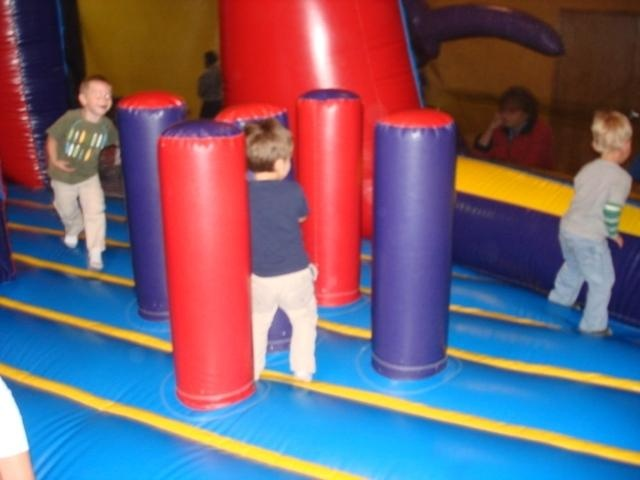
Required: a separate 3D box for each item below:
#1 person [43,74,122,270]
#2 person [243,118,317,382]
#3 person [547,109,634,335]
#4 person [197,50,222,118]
[{"bbox_3d":[-1.258,-0.394,3.062,0.347,0.954,0.604,-14,27,-29],"label":"person"},{"bbox_3d":[-0.135,0.054,2.090,0.246,0.924,0.363,-2,23,-5],"label":"person"},{"bbox_3d":[1.178,-0.075,2.437,0.273,0.897,0.462,10,25,22],"label":"person"},{"bbox_3d":[-0.953,-1.301,4.918,0.205,0.562,1.167,-5,24,-11],"label":"person"}]
